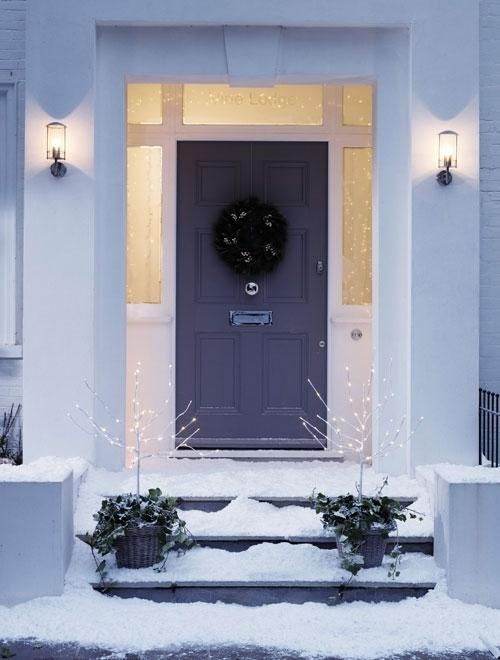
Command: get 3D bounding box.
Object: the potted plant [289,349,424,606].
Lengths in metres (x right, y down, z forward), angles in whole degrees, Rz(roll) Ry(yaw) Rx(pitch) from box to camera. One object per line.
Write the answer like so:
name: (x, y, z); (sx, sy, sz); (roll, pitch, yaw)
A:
potted plant: (0.609, 0.833, 4.655); (0.525, 0.856, 0.443); (-6, 7, -41)

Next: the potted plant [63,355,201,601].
potted plant: (-0.601, 0.844, 5.368); (0.932, 1.620, 0.980); (0, 0, -25)

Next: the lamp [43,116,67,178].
lamp: (-1.168, -1.079, 5.395); (0.125, 0.327, 0.098); (1, 1, -7)

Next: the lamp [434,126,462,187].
lamp: (1.182, -1.025, 5.382); (0.125, 0.325, 0.100); (1, 1, 9)
